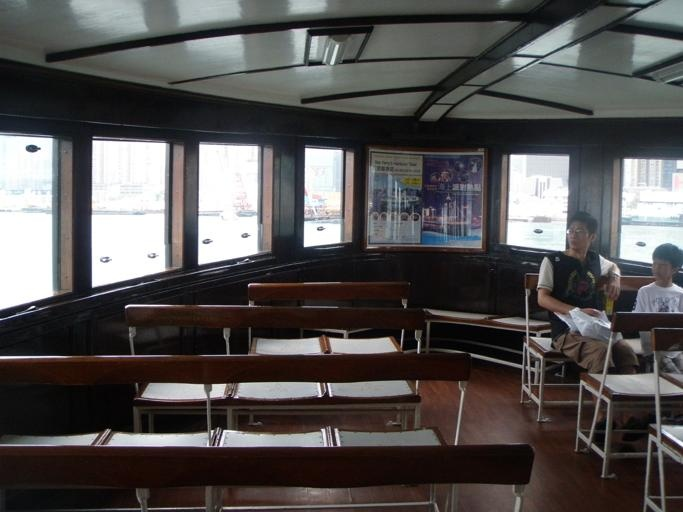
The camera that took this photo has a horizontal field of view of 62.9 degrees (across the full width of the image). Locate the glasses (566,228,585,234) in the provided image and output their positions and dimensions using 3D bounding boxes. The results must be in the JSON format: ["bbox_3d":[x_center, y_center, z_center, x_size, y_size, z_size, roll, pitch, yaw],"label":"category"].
[{"bbox_3d":[1.975,-0.202,4.693,0.122,0.052,0.041,7,11,41],"label":"glasses"}]
